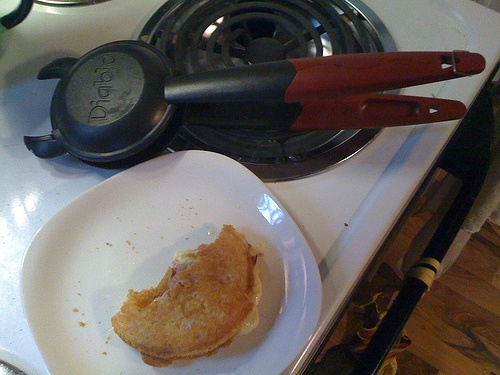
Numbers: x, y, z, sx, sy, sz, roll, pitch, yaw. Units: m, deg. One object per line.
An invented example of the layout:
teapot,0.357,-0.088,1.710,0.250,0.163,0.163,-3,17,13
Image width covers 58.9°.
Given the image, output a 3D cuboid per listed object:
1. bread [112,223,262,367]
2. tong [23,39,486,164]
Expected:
bread,-0.096,0.210,0.795,0.285,0.100,0.172,-26,62,-18
tong,-0.009,-0.165,0.834,0.821,0.186,0.241,-2,65,8
